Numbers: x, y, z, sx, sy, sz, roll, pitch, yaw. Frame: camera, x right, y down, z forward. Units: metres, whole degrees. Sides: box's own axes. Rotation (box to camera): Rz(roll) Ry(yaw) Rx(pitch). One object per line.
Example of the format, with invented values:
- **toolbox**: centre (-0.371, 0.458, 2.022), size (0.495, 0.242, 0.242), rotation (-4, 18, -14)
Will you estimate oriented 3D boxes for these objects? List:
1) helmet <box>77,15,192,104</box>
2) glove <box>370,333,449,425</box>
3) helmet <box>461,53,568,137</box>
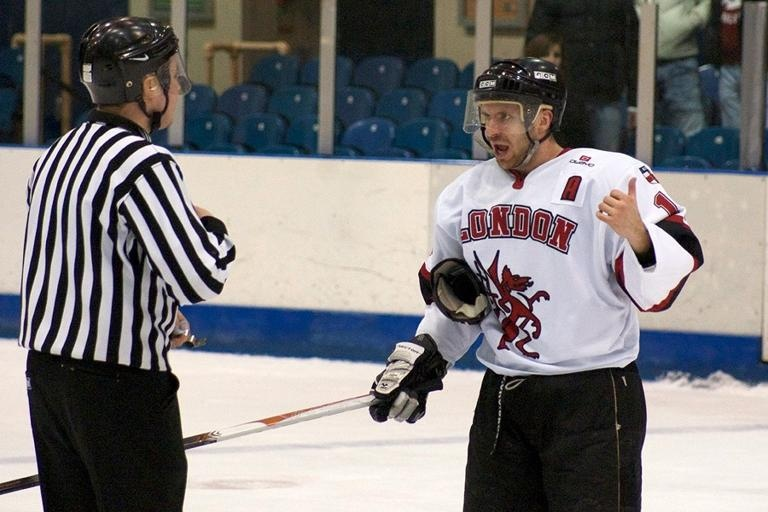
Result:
- **helmet**: centre (-1.073, -0.843, 5.610), size (0.456, 0.334, 0.351), rotation (-14, 29, -26)
- **glove**: centre (0.113, 0.553, 5.772), size (0.277, 0.394, 0.185), rotation (48, 10, 26)
- **helmet**: centre (0.515, -0.678, 5.647), size (0.394, 0.345, 0.301), rotation (4, -2, -14)
